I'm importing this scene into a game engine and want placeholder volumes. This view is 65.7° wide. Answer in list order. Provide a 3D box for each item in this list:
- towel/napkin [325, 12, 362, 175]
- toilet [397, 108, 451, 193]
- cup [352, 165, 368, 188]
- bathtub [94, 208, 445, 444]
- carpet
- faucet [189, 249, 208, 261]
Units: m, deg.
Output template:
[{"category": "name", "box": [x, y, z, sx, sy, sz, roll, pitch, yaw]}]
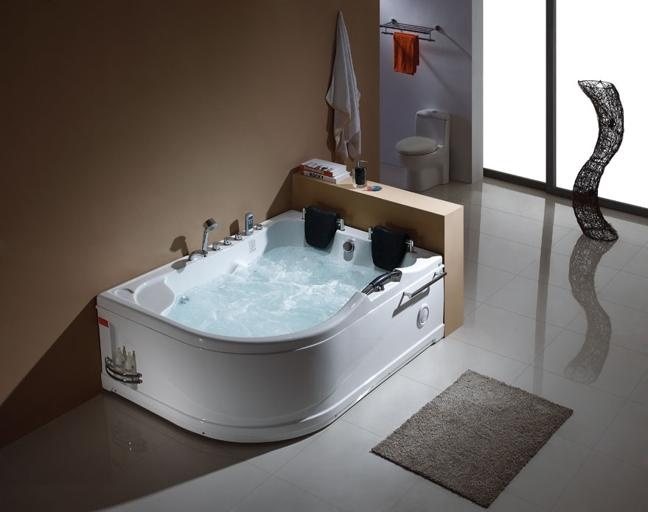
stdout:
[{"category": "towel/napkin", "box": [0.192, -1.372, 4.238, 0.189, 1.246, 0.396, 15, 29, 34]}, {"category": "toilet", "box": [1.116, -1.184, 5.752, 0.666, 0.845, 0.392, -27, 33, -36]}, {"category": "cup", "box": [0.271, -0.601, 3.829, 0.102, 0.142, 0.079, -1, 24, 1]}, {"category": "bathtub", "box": [-0.222, 0.090, 3.128, 1.246, 0.671, 1.694, 13, 23, 33]}, {"category": "carpet", "box": [0.826, 0.951, 2.756, 0.673, 0.037, 1.023, 22, 34, 40]}, {"category": "faucet", "box": [-0.877, -0.010, 3.488, 0.062, 0.031, 0.104, 24, 37, 30]}]
